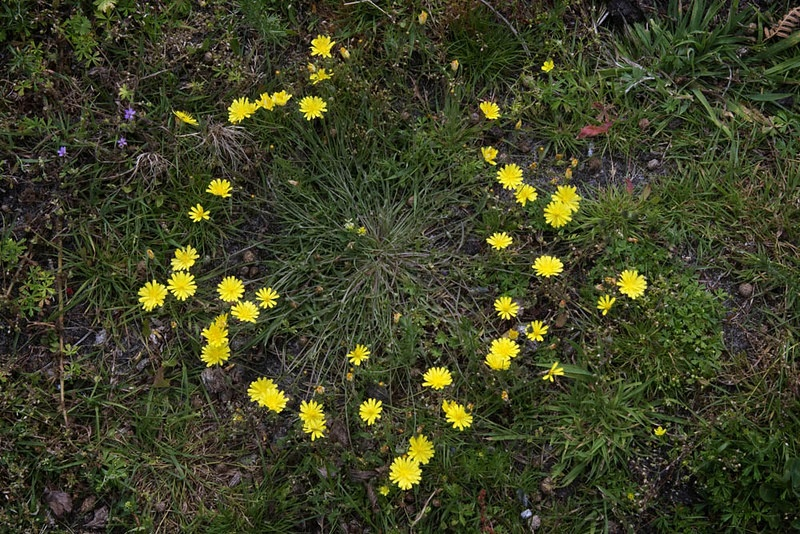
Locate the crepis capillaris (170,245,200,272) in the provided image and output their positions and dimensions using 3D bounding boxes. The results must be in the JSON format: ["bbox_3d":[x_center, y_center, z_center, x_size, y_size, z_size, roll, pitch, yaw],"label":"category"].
[{"bbox_3d":[-1.561,-0.061,4.414,0.178,0.079,0.186,-37,81,0],"label":"crepis capillaris"}]

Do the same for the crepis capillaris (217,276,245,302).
[{"bbox_3d":[-1.221,0.161,4.424,0.193,0.176,0.191,8,80,7],"label":"crepis capillaris"}]

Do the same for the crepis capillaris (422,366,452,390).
[{"bbox_3d":[0.254,0.754,4.165,0.164,0.071,0.164,-40,66,-12],"label":"crepis capillaris"}]

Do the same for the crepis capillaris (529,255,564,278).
[{"bbox_3d":[1.054,-0.010,4.341,0.161,0.045,0.182,-8,62,7],"label":"crepis capillaris"}]

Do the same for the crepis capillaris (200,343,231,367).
[{"bbox_3d":[-1.318,0.620,4.315,0.206,0.173,0.157,-2,79,5],"label":"crepis capillaris"}]

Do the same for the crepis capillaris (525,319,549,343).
[{"bbox_3d":[0.967,0.448,4.293,0.166,0.166,0.145,-6,79,4],"label":"crepis capillaris"}]

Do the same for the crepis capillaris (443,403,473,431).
[{"bbox_3d":[0.390,1.007,4.111,0.181,0.050,0.191,29,65,10],"label":"crepis capillaris"}]

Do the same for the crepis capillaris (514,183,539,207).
[{"bbox_3d":[0.942,-0.542,4.515,0.190,0.187,0.141,-20,78,1],"label":"crepis capillaris"}]

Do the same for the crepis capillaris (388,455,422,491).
[{"bbox_3d":[0.036,1.392,4.107,0.218,0.171,0.244,0,80,5],"label":"crepis capillaris"}]

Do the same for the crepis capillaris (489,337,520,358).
[{"bbox_3d":[0.725,0.554,4.182,0.140,0.040,0.151,21,57,27],"label":"crepis capillaris"}]

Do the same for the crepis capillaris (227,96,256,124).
[{"bbox_3d":[-1.182,-1.173,4.547,0.185,0.071,0.215,-8,91,7],"label":"crepis capillaris"}]

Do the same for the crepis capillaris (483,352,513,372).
[{"bbox_3d":[0.674,0.646,4.169,0.175,0.115,0.115,1,79,5],"label":"crepis capillaris"}]

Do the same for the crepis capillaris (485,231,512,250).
[{"bbox_3d":[0.726,-0.179,4.440,0.185,0.153,0.133,14,81,8],"label":"crepis capillaris"}]

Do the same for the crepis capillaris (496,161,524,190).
[{"bbox_3d":[0.802,-0.669,4.502,0.189,0.109,0.187,9,81,7],"label":"crepis capillaris"}]

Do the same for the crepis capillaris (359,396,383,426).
[{"bbox_3d":[-0.206,0.989,4.184,0.153,0.207,0.176,-2,79,5],"label":"crepis capillaris"}]

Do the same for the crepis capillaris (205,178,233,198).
[{"bbox_3d":[-1.323,-0.587,4.544,0.140,0.059,0.160,0,87,-1],"label":"crepis capillaris"}]

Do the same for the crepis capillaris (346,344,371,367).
[{"bbox_3d":[-0.290,0.610,4.250,0.153,0.036,0.159,29,99,-2],"label":"crepis capillaris"}]

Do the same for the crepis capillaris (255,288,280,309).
[{"bbox_3d":[-0.955,0.240,4.354,0.145,0.040,0.154,41,72,12],"label":"crepis capillaris"}]

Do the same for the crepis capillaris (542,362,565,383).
[{"bbox_3d":[1.048,0.726,4.221,0.139,0.148,0.067,-21,37,-13],"label":"crepis capillaris"}]

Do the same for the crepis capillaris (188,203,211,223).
[{"bbox_3d":[-1.480,-0.402,4.482,0.140,0.052,0.140,-30,77,-4],"label":"crepis capillaris"}]

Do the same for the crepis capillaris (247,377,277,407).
[{"bbox_3d":[-0.951,0.849,4.191,0.189,0.085,0.195,-29,74,-4],"label":"crepis capillaris"}]

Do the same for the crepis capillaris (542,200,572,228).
[{"bbox_3d":[1.140,-0.387,4.377,0.165,0.048,0.196,16,95,6],"label":"crepis capillaris"}]

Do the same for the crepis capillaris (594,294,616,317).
[{"bbox_3d":[1.443,0.272,4.317,0.137,0.038,0.148,-32,47,28],"label":"crepis capillaris"}]

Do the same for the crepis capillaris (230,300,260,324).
[{"bbox_3d":[-1.084,0.310,4.292,0.157,0.046,0.160,44,65,10],"label":"crepis capillaris"}]

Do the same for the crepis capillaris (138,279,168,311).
[{"bbox_3d":[-1.763,0.202,4.361,0.206,0.082,0.209,37,83,-11],"label":"crepis capillaris"}]

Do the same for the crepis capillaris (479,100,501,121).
[{"bbox_3d":[0.677,-1.157,4.620,0.137,0.067,0.156,19,89,13],"label":"crepis capillaris"}]

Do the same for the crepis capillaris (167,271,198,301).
[{"bbox_3d":[-1.572,0.135,4.430,0.192,0.170,0.212,13,81,8],"label":"crepis capillaris"}]

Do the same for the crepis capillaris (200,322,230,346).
[{"bbox_3d":[-1.303,0.476,4.293,0.174,0.109,0.142,-2,79,5],"label":"crepis capillaris"}]

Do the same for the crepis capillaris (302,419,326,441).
[{"bbox_3d":[-0.575,1.106,4.149,0.156,0.170,0.144,-10,78,3],"label":"crepis capillaris"}]

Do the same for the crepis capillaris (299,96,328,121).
[{"bbox_3d":[-0.654,-1.184,4.582,0.222,0.192,0.186,5,80,6],"label":"crepis capillaris"}]

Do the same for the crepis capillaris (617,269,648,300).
[{"bbox_3d":[1.644,0.111,4.307,0.218,0.110,0.203,24,83,9],"label":"crepis capillaris"}]

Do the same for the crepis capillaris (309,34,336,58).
[{"bbox_3d":[-0.584,-1.663,4.656,0.178,0.075,0.214,13,87,3],"label":"crepis capillaris"}]

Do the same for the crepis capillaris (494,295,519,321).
[{"bbox_3d":[0.768,0.286,4.373,0.177,0.137,0.167,-2,79,5],"label":"crepis capillaris"}]
